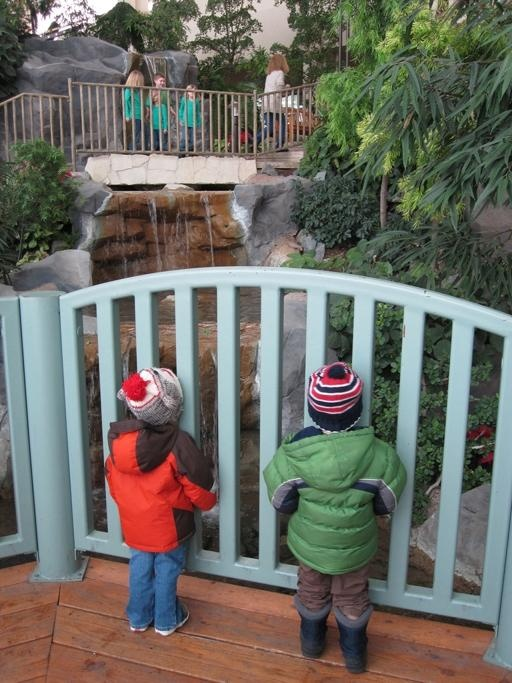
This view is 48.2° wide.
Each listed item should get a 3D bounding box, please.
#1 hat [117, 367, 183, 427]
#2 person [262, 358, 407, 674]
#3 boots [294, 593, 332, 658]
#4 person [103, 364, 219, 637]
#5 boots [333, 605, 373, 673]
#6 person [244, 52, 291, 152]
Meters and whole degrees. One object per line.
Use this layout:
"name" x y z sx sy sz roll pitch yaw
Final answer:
"hat" -0.274 0.154 1.499 0.162 0.168 0.120 -5 13 -13
"person" 0.195 0.415 1.393 0.286 0.750 0.229 -8 15 -25
"boots" 0.146 0.714 1.468 0.081 0.135 0.142 1 5 8
"person" -0.263 0.411 1.566 0.270 0.698 0.279 -6 14 -17
"boots" 0.240 0.744 1.444 0.088 0.158 0.166 0 -7 -2
"person" 0.331 -4.772 11.380 0.598 1.919 1.337 -2 13 2
